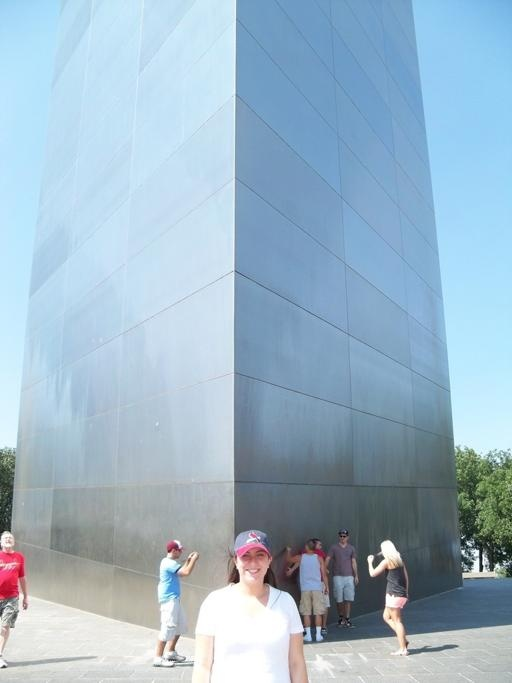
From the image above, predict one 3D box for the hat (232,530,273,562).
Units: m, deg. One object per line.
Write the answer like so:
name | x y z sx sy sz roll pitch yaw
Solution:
hat | -0.016 0.702 1.488 0.100 0.125 0.222 3 -25 -2
